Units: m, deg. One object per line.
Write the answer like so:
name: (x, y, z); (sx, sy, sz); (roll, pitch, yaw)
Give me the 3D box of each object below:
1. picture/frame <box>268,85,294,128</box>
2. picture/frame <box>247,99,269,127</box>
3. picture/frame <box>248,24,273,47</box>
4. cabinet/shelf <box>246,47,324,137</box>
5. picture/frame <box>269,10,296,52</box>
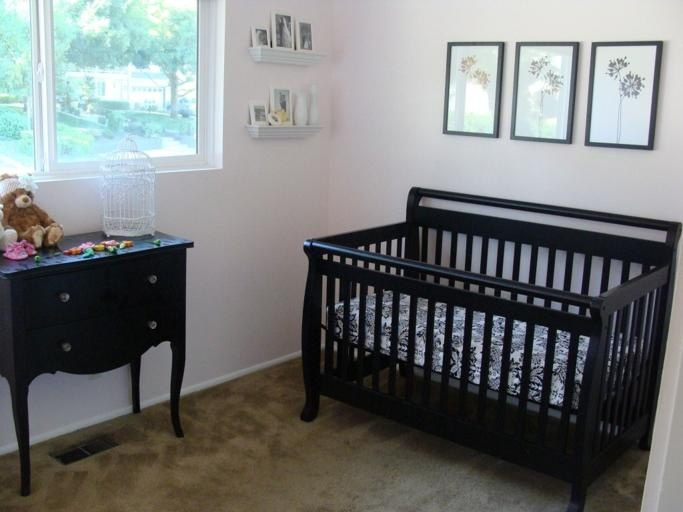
picture/frame: (-0.359, -0.864, 3.160); (0.023, 0.316, 0.247); (4, 8, 35)
picture/frame: (-0.475, -0.798, 3.070); (0.007, 0.159, 0.139); (0, 14, 35)
picture/frame: (-0.454, -1.215, 3.012); (0.006, 0.149, 0.142); (5, 12, 34)
cabinet/shelf: (-0.347, -0.944, 3.149); (0.495, 0.474, 0.135); (-8, 14, -40)
picture/frame: (-0.342, -1.267, 3.088); (0.012, 0.297, 0.246); (7, 12, 39)
